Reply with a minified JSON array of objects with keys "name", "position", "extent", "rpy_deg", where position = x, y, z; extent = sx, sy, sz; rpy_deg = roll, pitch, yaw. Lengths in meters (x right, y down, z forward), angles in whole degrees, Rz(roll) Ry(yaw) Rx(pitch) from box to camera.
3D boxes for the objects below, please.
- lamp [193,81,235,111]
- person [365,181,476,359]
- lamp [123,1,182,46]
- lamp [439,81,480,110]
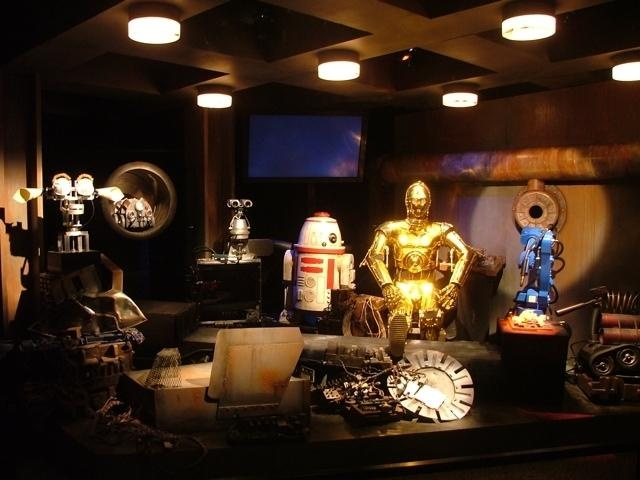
[{"name":"lamp","position":[-1.141,-1.536,5.709],"extent":[0.279,0.145,0.283],"rpy_deg":[1,6,9]},{"name":"person","position":[1.076,0.535,5.745],"extent":[1.109,2.225,0.719],"rpy_deg":[3,21,12]},{"name":"lamp","position":[-1.216,-1.532,3.861],"extent":[0.272,0.168,0.276],"rpy_deg":[-3,-6,14]},{"name":"lamp","position":[1.499,-1.553,5.723],"extent":[0.277,0.110,0.280],"rpy_deg":[1,3,29]}]
